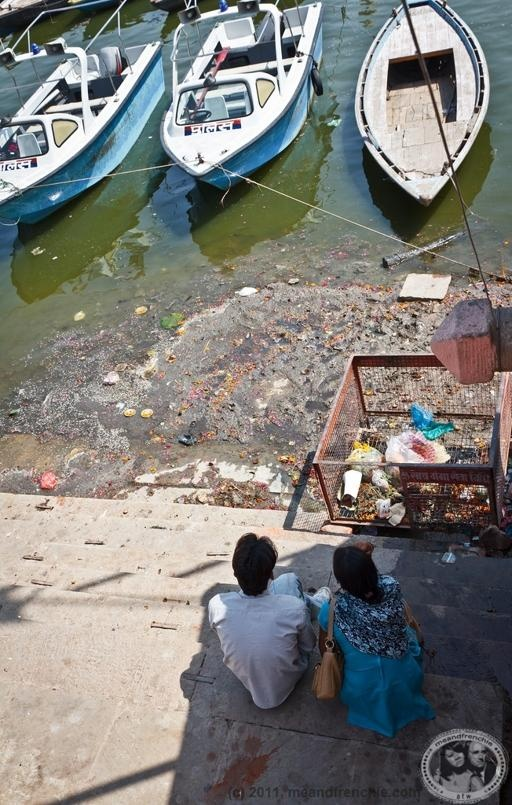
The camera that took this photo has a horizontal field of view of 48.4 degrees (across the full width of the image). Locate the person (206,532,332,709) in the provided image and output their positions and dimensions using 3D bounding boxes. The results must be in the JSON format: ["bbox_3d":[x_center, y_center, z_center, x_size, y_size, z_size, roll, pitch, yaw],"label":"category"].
[{"bbox_3d":[0.058,1.052,2.950,0.419,0.981,0.934,-8,23,8],"label":"person"}]

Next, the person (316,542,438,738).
[{"bbox_3d":[0.474,1.004,2.441,0.467,0.803,0.532,-6,34,10],"label":"person"}]
